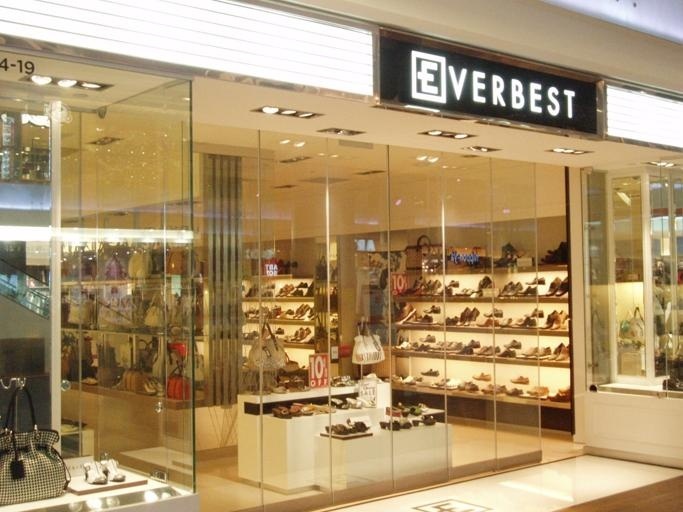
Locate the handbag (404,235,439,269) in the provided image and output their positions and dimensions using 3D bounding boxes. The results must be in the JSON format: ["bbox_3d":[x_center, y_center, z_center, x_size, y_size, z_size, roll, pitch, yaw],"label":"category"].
[{"bbox_3d":[0.861,-0.055,6.504,0.375,0.350,0.138,0,3,-27],"label":"handbag"}]

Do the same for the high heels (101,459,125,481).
[{"bbox_3d":[-1.256,1.158,3.223,0.067,0.080,0.192,2,-4,-40],"label":"high heels"}]

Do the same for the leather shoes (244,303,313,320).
[{"bbox_3d":[-0.583,0.520,5.584,0.686,0.150,0.127,2,-6,-34],"label":"leather shoes"}]

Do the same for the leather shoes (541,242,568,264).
[{"bbox_3d":[3.221,-0.022,8.847,0.199,0.257,0.603,3,-2,-10],"label":"leather shoes"}]

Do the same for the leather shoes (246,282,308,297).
[{"bbox_3d":[-0.584,0.307,5.593,0.653,0.135,0.124,2,-6,-35],"label":"leather shoes"}]

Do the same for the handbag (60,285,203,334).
[{"bbox_3d":[-1.195,0.285,3.316,0.683,0.261,0.100,0,-5,-15],"label":"handbag"}]

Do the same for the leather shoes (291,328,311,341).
[{"bbox_3d":[-0.391,0.748,5.707,0.106,0.070,0.194,-6,-10,28],"label":"leather shoes"}]

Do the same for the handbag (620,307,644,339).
[{"bbox_3d":[3.540,0.811,7.161,0.326,0.502,0.300,1,-3,29],"label":"handbag"}]

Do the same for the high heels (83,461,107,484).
[{"bbox_3d":[-1.338,1.164,3.179,0.081,0.062,0.136,4,8,-25],"label":"high heels"}]

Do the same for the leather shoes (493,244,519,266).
[{"bbox_3d":[2.053,-0.005,7.281,0.156,0.202,0.485,-6,-9,42],"label":"leather shoes"}]

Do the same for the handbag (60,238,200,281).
[{"bbox_3d":[-1.202,0.022,3.314,0.672,0.211,0.081,1,-5,-21],"label":"handbag"}]
